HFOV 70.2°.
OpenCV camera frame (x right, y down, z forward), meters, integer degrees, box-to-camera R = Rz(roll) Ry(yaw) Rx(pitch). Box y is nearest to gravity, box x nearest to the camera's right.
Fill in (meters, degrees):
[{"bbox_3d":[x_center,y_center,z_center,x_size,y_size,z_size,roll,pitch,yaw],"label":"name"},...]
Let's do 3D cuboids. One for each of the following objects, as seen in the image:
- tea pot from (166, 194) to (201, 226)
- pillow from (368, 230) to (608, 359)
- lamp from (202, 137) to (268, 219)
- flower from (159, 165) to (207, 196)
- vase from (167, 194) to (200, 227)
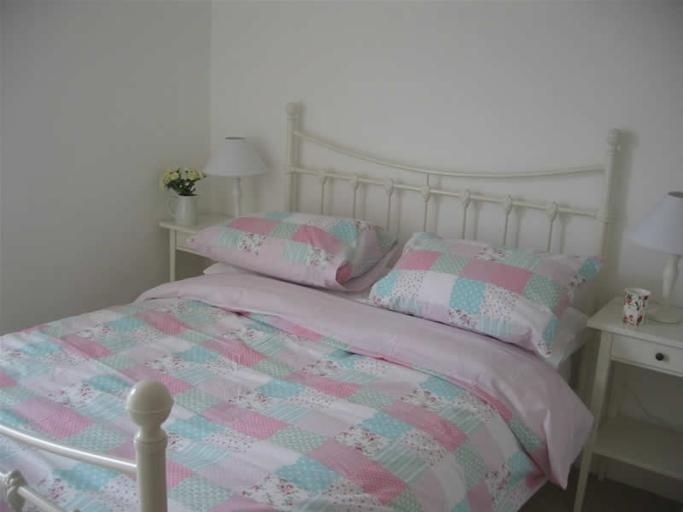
[{"bbox_3d":[-1.052,-0.302,3.104,0.244,0.216,0.149,-11,23,-39],"label":"tea pot"},{"bbox_3d":[0.600,0.127,2.121,0.840,0.355,0.454,11,15,31],"label":"pillow"},{"bbox_3d":[-0.675,-0.522,3.141,0.343,0.581,0.357,-23,38,-36],"label":"lamp"},{"bbox_3d":[-1.036,-0.445,3.104,0.230,0.168,0.232,-1,3,36],"label":"flower"},{"bbox_3d":[-1.063,-0.295,3.087,0.240,0.213,0.146,-10,23,-39],"label":"vase"}]
